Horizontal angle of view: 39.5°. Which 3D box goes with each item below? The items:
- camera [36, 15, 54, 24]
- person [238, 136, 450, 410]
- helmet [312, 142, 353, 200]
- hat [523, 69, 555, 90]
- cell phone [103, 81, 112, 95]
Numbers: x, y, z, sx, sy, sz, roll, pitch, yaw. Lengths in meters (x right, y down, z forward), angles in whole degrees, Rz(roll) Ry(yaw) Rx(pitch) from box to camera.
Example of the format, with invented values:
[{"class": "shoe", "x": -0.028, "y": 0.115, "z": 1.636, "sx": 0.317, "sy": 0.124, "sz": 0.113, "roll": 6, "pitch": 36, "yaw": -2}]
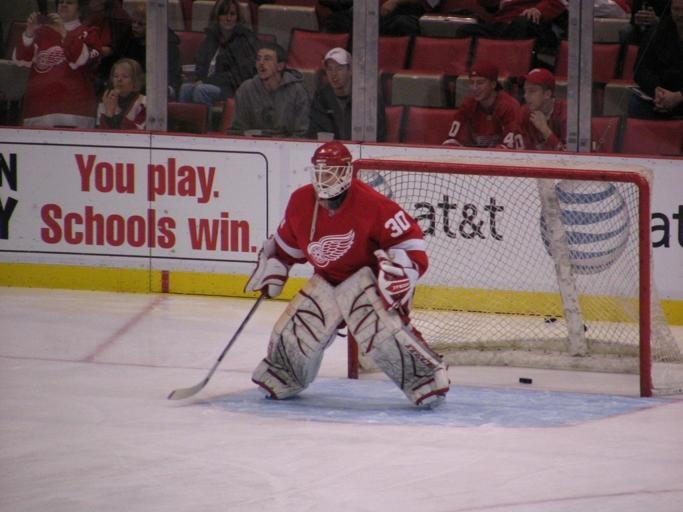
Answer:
[{"class": "camera", "x": -2.332, "y": -1.865, "z": 7.500, "sx": 0.124, "sy": 0.064, "sz": 0.081, "roll": -1, "pitch": -3, "yaw": 7}, {"class": "person", "x": 0.033, "y": 0.105, "z": 5.263, "sx": 1.143, "sy": 1.439, "sz": 0.453, "roll": 1, "pitch": 14, "yaw": 5}, {"class": "helmet", "x": -0.054, "y": -0.460, "z": 5.105, "sx": 0.247, "sy": 0.269, "sz": 0.290, "roll": 1, "pitch": 8, "yaw": 16}, {"class": "hat", "x": 1.443, "y": -1.276, "z": 6.886, "sx": 0.188, "sy": 0.092, "sz": 0.134, "roll": 19, "pitch": 10, "yaw": -11}, {"class": "cell phone", "x": -1.839, "y": -1.337, "z": 7.498, "sx": 0.051, "sy": 0.063, "sz": 0.061, "roll": 0, "pitch": -3, "yaw": -20}]
